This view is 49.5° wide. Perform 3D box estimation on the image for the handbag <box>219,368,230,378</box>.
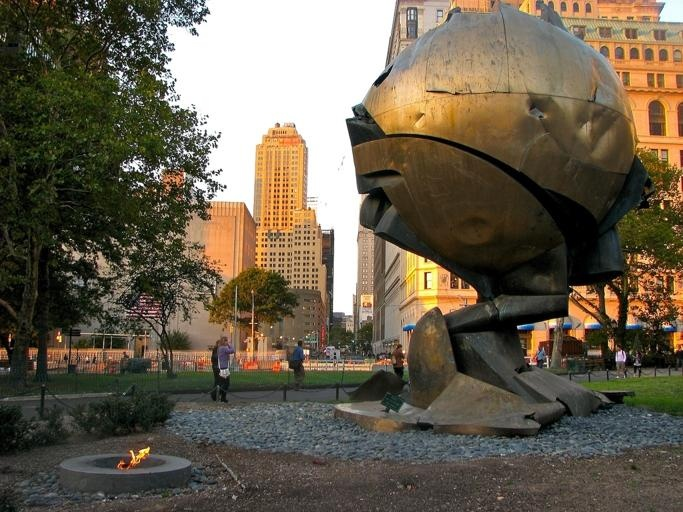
[{"bbox_3d":[-3.897,3.871,24.917,0.273,0.294,0.308,-1,11,-14],"label":"handbag"}]
